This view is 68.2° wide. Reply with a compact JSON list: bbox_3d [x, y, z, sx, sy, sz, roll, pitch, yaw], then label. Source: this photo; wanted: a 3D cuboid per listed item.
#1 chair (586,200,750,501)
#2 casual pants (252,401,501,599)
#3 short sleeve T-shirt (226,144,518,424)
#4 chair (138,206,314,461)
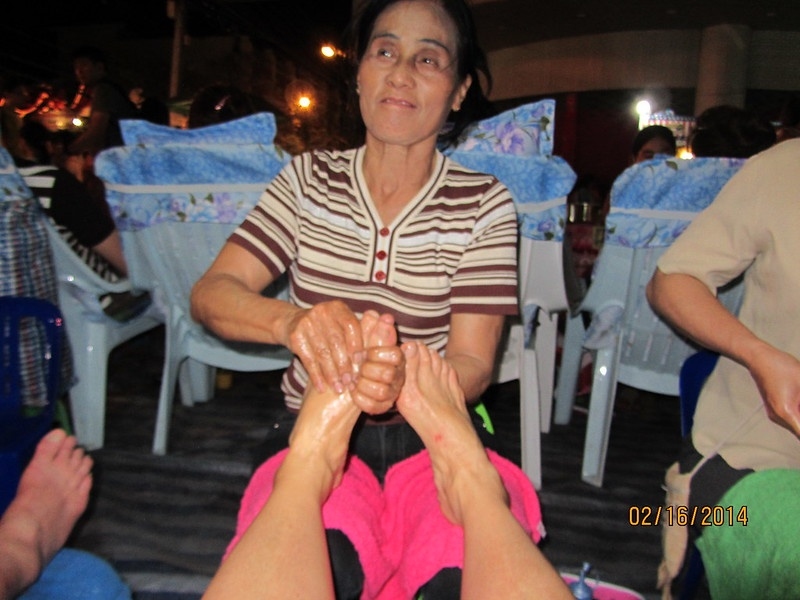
[{"bbox_3d":[0.952,0.202,2.348,0.536,0.804,0.609,-1,-7,26],"label":"chair"},{"bbox_3d":[-0.107,0.428,1.582,0.460,0.197,0.441,-2,14,1],"label":"casual pants"},{"bbox_3d":[-0.063,-0.078,1.483,0.771,0.783,0.413,8,12,-2],"label":"short sleeve T-shirt"},{"bbox_3d":[-0.780,0.022,2.470,0.712,0.952,0.700,13,21,23],"label":"chair"}]
